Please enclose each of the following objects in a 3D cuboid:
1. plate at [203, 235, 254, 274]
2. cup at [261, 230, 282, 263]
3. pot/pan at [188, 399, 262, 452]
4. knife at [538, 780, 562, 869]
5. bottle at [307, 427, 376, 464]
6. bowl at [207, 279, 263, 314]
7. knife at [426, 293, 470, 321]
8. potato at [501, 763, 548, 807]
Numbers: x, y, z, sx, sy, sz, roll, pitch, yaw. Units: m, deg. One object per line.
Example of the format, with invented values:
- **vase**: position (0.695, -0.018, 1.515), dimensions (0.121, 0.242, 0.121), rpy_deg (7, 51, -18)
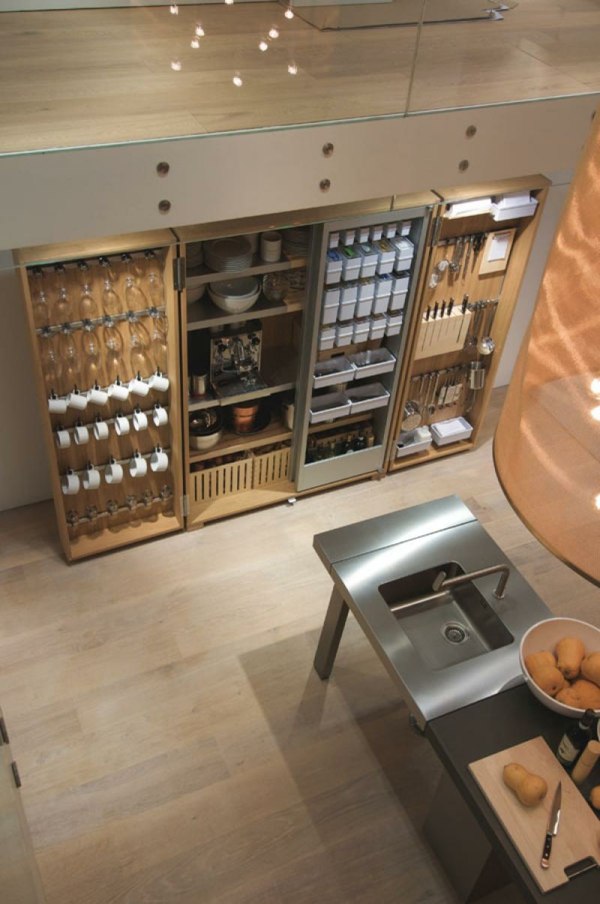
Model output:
- **plate**: position (-0.332, -0.932, 3.082), dimensions (0.190, 0.074, 0.193), rpy_deg (28, 48, 26)
- **cup**: position (-0.134, -0.994, 3.190), dimensions (0.119, 0.130, 0.103), rpy_deg (-8, 34, -24)
- **pot/pan**: position (-0.442, -0.169, 3.723), dimensions (0.339, 0.110, 0.244), rpy_deg (-20, 56, -19)
- **knife**: position (0.742, 1.087, 1.944), dimensions (0.046, 0.030, 0.337), rpy_deg (20, 41, 0)
- **bottle**: position (0.244, -0.041, 4.101), dimensions (0.217, 0.203, 0.071), rpy_deg (-15, 56, -12)
- **bowl**: position (-0.289, -0.779, 3.276), dimensions (0.314, 0.139, 0.168), rpy_deg (-23, 42, -40)
- **knife**: position (0.850, -0.843, 3.794), dimensions (0.267, 0.107, 0.022), rpy_deg (-21, 50, -17)
- **potato**: position (0.676, 0.999, 1.966), dimensions (0.076, 0.077, 0.127), rpy_deg (-19, 42, -19)
